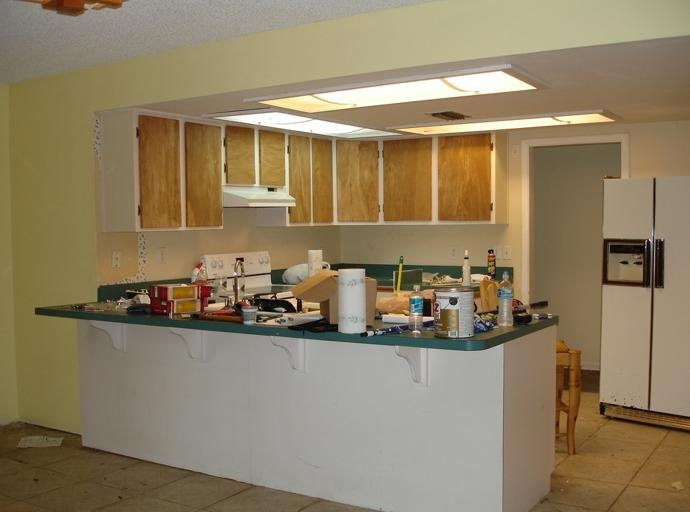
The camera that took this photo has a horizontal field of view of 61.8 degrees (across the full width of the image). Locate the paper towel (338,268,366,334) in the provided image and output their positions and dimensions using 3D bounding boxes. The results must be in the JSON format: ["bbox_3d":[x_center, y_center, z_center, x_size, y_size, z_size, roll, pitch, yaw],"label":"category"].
[{"bbox_3d":[0.016,0.264,3.404,0.209,0.355,0.210,-2,-1,30],"label":"paper towel"}]

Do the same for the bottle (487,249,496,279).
[{"bbox_3d":[1.553,0.089,6.116,0.093,0.302,0.322,1,5,14],"label":"bottle"}]

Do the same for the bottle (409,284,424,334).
[{"bbox_3d":[0.408,0.307,3.330,0.079,0.244,0.228,0,5,7],"label":"bottle"}]

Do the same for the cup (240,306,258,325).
[{"bbox_3d":[-0.601,0.373,3.646,0.108,0.095,0.104,1,-2,0],"label":"cup"}]

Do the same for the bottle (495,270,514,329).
[{"bbox_3d":[0.972,0.297,3.497,0.095,0.231,0.196,1,5,16],"label":"bottle"}]

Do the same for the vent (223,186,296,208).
[{"bbox_3d":[-0.802,-0.570,5.523,0.385,0.206,0.793,1,4,21],"label":"vent"}]

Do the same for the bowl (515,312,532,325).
[{"bbox_3d":[1.080,0.382,3.515,0.099,0.068,0.102,-1,4,0],"label":"bowl"}]

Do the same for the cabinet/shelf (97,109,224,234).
[{"bbox_3d":[-1.577,-0.717,4.803,0.544,0.914,1.048,0,2,36],"label":"cabinet/shelf"}]

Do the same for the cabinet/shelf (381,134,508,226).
[{"bbox_3d":[1.061,-0.834,6.212,1.220,0.876,0.416,3,9,31],"label":"cabinet/shelf"}]
